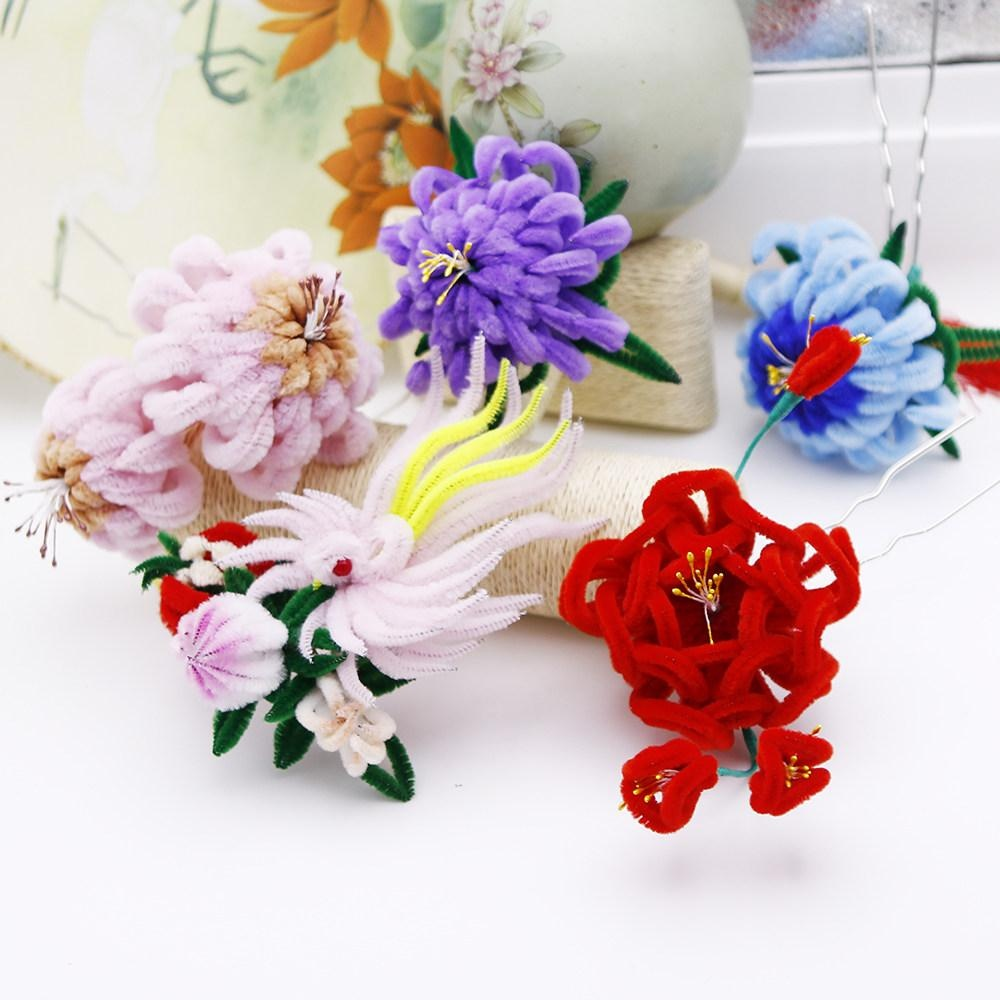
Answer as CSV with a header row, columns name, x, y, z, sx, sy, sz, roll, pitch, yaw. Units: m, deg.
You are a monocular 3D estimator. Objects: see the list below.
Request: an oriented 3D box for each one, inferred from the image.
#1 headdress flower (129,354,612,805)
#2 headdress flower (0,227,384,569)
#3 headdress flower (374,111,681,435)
name,x,y,z,sx,sy,sz,roll,pitch,yaw
headdress flower,-0.047,0.036,0.588,0.190,0.056,0.157,-37,67,-22
headdress flower,-0.127,-0.060,0.656,0.147,0.115,0.202,21,-23,-18
headdress flower,0.007,-0.108,0.694,0.124,0.128,0.066,12,-4,3
